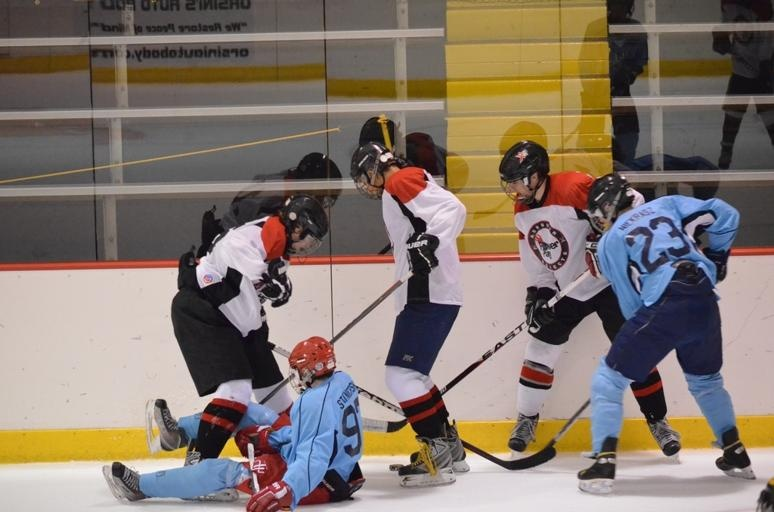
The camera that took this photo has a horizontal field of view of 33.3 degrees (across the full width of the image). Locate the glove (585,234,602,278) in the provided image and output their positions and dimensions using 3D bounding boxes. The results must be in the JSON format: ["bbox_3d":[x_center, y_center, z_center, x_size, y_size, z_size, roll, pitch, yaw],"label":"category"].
[{"bbox_3d":[1.388,-0.003,8.675,0.088,0.236,0.180,-4,3,1],"label":"glove"}]

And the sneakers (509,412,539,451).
[{"bbox_3d":[0.952,1.228,8.923,0.126,0.134,0.339,19,42,13],"label":"sneakers"}]

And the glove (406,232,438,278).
[{"bbox_3d":[0.244,-0.013,8.364,0.246,0.241,0.095,-3,1,-20],"label":"glove"}]

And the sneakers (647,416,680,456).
[{"bbox_3d":[1.895,1.212,8.849,0.127,0.136,0.344,-35,19,8],"label":"sneakers"}]

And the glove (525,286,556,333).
[{"bbox_3d":[1.051,0.361,8.863,0.103,0.277,0.277,14,0,-26],"label":"glove"}]

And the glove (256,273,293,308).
[{"bbox_3d":[-0.740,0.223,8.677,0.228,0.211,0.167,-2,33,3],"label":"glove"}]

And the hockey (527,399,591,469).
[{"bbox_3d":[1.186,1.206,8.711,0.623,0.050,0.222,-36,28,-25],"label":"hockey"}]

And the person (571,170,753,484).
[{"bbox_3d":[1.828,0.552,8.550,1.109,2.247,1.117,-17,-35,41],"label":"person"}]

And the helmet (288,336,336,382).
[{"bbox_3d":[-0.452,0.655,8.108,0.301,0.289,0.237,-3,1,30],"label":"helmet"}]

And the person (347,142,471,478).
[{"bbox_3d":[0.185,0.374,8.526,0.697,2.205,0.504,1,8,12],"label":"person"}]

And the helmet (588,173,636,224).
[{"bbox_3d":[1.489,-0.383,8.665,0.324,0.322,0.268,-14,4,22],"label":"helmet"}]
